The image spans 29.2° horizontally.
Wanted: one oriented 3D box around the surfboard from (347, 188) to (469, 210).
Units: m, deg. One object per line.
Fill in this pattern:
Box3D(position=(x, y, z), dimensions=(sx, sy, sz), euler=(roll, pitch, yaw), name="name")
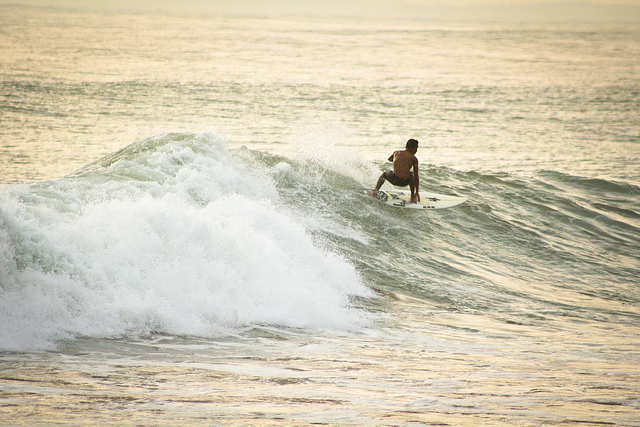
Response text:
Box3D(position=(5.615, -0.902, 90.643), dimensions=(10.830, 0.805, 2.291), euler=(5, 34, -8), name="surfboard")
